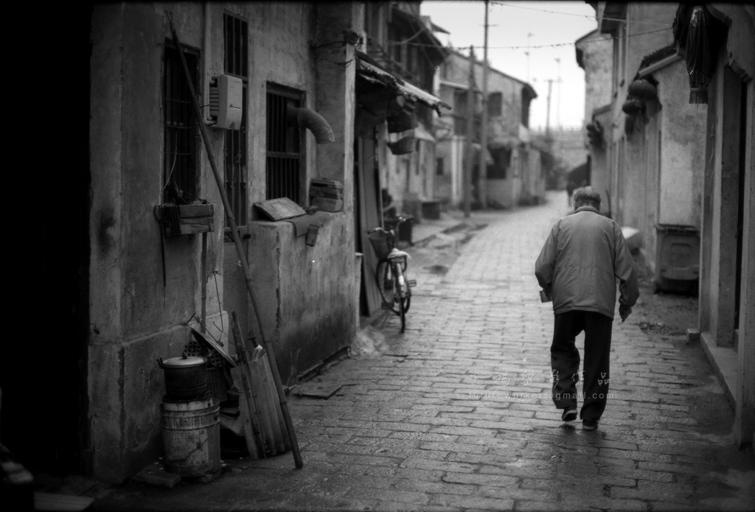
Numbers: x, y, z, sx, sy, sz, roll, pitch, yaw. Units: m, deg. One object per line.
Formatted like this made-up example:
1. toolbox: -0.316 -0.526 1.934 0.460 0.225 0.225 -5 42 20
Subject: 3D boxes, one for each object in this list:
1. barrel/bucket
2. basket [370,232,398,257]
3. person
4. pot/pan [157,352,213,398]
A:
1. barrel/bucket: -1.613 1.609 6.852 0.591 0.656 0.624 -1 -1 0
2. basket: 0.078 -0.213 13.080 0.463 0.422 0.368 1 3 -28
3. person: 2.144 0.506 7.983 0.809 2.331 0.824 -6 10 -34
4. pot/pan: -1.668 1.036 6.754 0.385 0.334 0.371 0 -4 -15
